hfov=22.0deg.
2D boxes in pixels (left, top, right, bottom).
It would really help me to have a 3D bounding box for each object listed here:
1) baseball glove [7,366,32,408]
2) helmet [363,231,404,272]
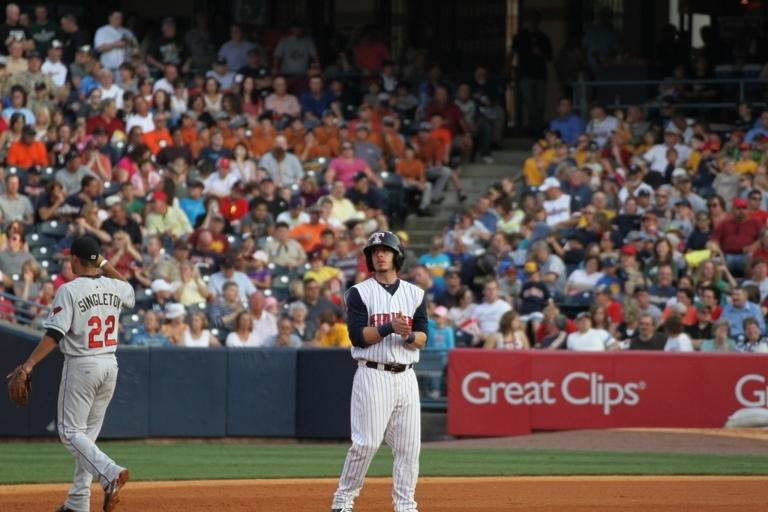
[{"bbox_3d":[-5.091,1.807,27.451,0.405,0.540,0.187,0,-2,-45],"label":"baseball glove"},{"bbox_3d":[0.018,-0.048,27.203,0.416,0.471,0.581,-3,-13,11],"label":"helmet"}]
